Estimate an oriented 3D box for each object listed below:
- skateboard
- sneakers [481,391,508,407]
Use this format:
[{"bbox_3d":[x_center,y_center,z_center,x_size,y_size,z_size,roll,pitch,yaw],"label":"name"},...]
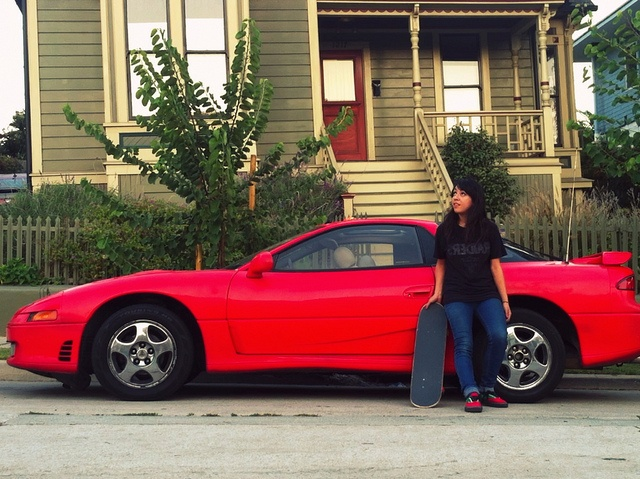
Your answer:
[{"bbox_3d":[1.266,1.351,10.045,0.307,1.362,0.200,5,4,2],"label":"skateboard"},{"bbox_3d":[1.987,1.828,10.070,0.351,0.165,0.142,2,4,0],"label":"sneakers"}]
